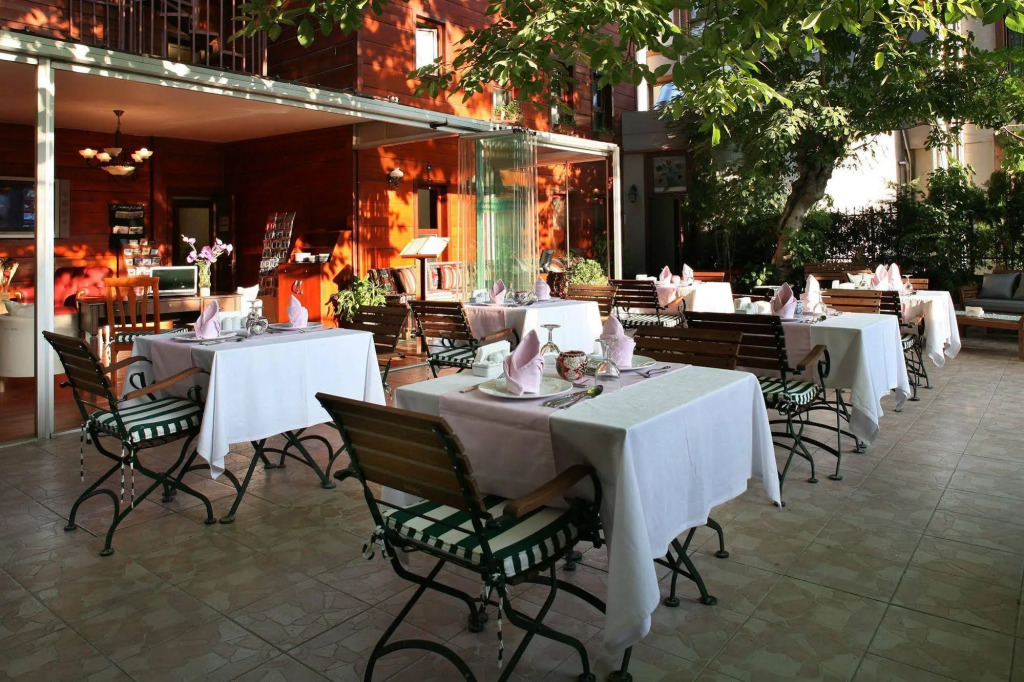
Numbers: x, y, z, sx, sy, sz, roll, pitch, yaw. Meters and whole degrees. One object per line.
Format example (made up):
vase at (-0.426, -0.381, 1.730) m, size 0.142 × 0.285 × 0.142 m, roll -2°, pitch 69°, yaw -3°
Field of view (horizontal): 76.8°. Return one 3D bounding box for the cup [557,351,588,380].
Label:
cup at (0.305, 0.130, 3.316) m, size 0.137 × 0.117 × 0.143 m, roll 0°, pitch 1°, yaw 0°

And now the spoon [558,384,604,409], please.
spoon at (0.331, 0.241, 3.110) m, size 0.084 × 0.043 × 0.316 m, roll 16°, pitch 20°, yaw 35°

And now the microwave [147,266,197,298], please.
microwave at (-4.275, -0.742, 8.202) m, size 0.692 × 0.455 × 0.452 m, roll 0°, pitch 1°, yaw -36°

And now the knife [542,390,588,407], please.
knife at (0.255, 0.279, 3.072) m, size 0.070 × 0.011 × 0.240 m, roll 11°, pitch 14°, yaw 25°

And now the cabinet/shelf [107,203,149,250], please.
cabinet/shelf at (-6.478, -1.936, 11.005) m, size 0.608 × 0.802 × 0.540 m, roll -6°, pitch 8°, yaw -34°

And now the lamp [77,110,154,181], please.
lamp at (-6.377, -2.948, 10.490) m, size 1.148 × 1.018 × 1.196 m, roll 0°, pitch 0°, yaw -36°

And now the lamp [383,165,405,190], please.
lamp at (-2.102, -2.935, 11.682) m, size 0.387 × 0.355 × 0.397 m, roll -1°, pitch 12°, yaw 5°

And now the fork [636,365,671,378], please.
fork at (0.770, 0.164, 3.515) m, size 0.063 × 0.073 × 0.433 m, roll 1°, pitch 3°, yaw 32°
